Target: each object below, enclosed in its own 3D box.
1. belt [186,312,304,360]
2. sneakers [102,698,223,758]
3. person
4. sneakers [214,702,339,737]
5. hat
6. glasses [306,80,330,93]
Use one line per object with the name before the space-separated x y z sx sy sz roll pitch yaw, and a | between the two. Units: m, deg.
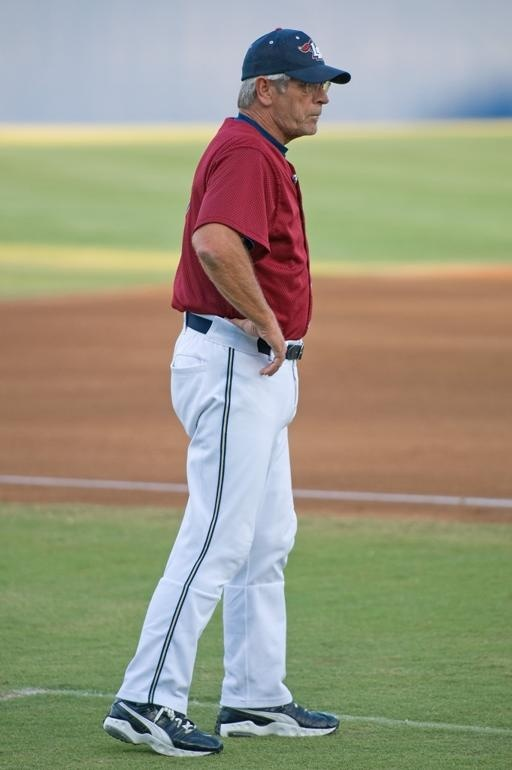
belt | -0.034 -0.119 3.254 0.215 0.042 0.138 11 -8 -4
sneakers | -0.233 0.814 3.221 0.324 0.129 0.105 12 3 -3
person | -0.036 -0.005 3.253 0.590 1.753 0.434 3 9 -16
sneakers | 0.047 0.830 3.372 0.308 0.097 0.101 0 -5 -1
hat | 0.094 -0.808 3.287 0.243 0.107 0.136 1 10 14
glasses | 0.139 -0.730 3.269 0.043 0.037 0.012 0 1 -43
